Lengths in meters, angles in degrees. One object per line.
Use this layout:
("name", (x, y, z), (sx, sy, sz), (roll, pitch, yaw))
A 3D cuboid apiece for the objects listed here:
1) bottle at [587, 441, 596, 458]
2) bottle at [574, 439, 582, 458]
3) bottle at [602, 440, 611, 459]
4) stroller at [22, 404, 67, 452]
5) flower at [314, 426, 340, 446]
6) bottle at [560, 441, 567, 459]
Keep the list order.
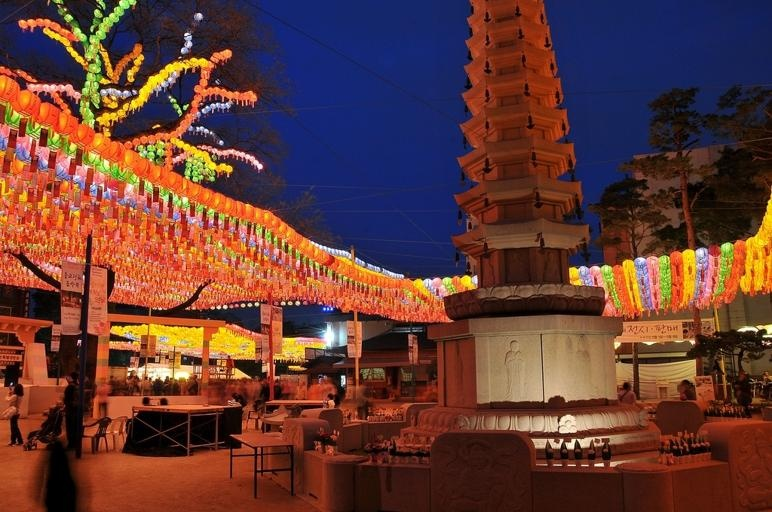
("bottle", (4.611, 4.360, 16.822), (0.174, 0.451, 0.702), (-5, -17, 14))
("bottle", (4.280, 4.329, 16.720), (0.179, 0.456, 0.721), (-5, -17, 12))
("bottle", (4.942, 4.371, 16.834), (0.178, 0.465, 0.326), (-5, -17, 12))
("stroller", (-10.310, 5.186, 22.756), (0.855, 1.433, 1.941), (11, -20, -35))
("flower", (-1.404, 4.396, 18.083), (0.596, 0.459, 0.680), (5, -21, -11))
("bottle", (3.984, 4.361, 16.766), (0.182, 0.420, 0.675), (-4, -17, 11))
